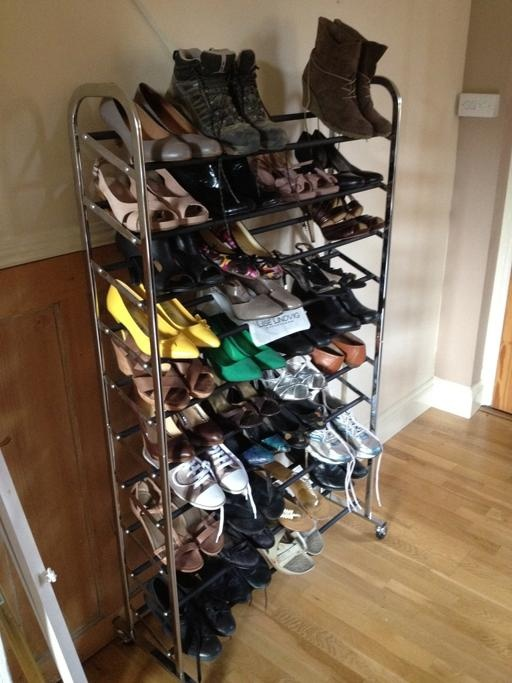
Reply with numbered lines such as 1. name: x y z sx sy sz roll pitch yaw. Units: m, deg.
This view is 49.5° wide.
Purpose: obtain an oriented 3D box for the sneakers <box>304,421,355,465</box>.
1. sneakers: 0.183 0.289 1.585 0.176 0.066 0.084 22 34 36

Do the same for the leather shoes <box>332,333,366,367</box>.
1. leather shoes: 0.254 0.012 1.601 0.056 0.055 0.147 -16 33 -26

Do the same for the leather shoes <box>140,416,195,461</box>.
1. leather shoes: -0.198 0.186 1.169 0.062 0.058 0.167 -13 19 -27

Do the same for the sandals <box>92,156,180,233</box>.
1. sandals: -0.232 -0.241 1.007 0.088 0.058 0.233 -27 57 -36

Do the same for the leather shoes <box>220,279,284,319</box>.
1. leather shoes: -0.009 -0.087 1.190 0.075 0.036 0.136 -21 42 -26

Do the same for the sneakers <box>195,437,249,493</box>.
1. sneakers: -0.075 0.274 1.288 0.067 0.057 0.181 -25 31 -20

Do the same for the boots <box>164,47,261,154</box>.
1. boots: -0.074 -0.459 1.026 0.084 0.142 0.238 -27 56 -30

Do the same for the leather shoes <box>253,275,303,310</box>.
1. leather shoes: 0.041 -0.110 1.289 0.050 0.037 0.144 -26 44 -33

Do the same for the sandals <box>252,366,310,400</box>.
1. sandals: 0.058 0.098 1.371 0.119 0.046 0.063 28 62 30

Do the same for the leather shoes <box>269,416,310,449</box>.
1. leather shoes: 0.072 0.234 1.439 0.119 0.030 0.055 41 43 12

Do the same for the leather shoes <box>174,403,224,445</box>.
1. leather shoes: -0.121 0.186 1.195 0.058 0.043 0.156 -23 31 -24

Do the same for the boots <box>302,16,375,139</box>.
1. boots: 0.199 -0.589 1.260 0.097 0.184 0.247 -26 62 -26

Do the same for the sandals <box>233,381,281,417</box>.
1. sandals: 0.003 0.127 1.353 0.054 0.026 0.169 -9 18 -19

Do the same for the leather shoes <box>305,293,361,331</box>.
1. leather shoes: 0.179 -0.092 1.518 0.069 0.078 0.203 -26 33 -35

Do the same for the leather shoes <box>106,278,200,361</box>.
1. leather shoes: -0.192 -0.041 1.036 0.186 0.076 0.057 36 71 14

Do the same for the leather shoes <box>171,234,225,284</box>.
1. leather shoes: -0.112 -0.171 1.096 0.052 0.069 0.169 -25 42 -25

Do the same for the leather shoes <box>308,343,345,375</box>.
1. leather shoes: 0.189 0.037 1.529 0.062 0.039 0.112 -16 41 -25

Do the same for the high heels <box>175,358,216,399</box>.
1. high heels: -0.122 0.072 1.123 0.050 0.030 0.104 -21 47 -22

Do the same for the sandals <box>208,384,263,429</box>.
1. sandals: -0.049 0.137 1.294 0.071 0.028 0.202 -10 17 -19

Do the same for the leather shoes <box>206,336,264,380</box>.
1. leather shoes: -0.053 0.042 1.239 0.063 0.035 0.169 -26 43 -26

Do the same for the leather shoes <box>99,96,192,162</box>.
1. leather shoes: -0.197 -0.368 0.961 0.129 0.101 0.185 -13 27 -17

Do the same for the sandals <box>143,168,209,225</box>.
1. sandals: -0.166 -0.270 1.062 0.067 0.047 0.225 -21 51 -29
